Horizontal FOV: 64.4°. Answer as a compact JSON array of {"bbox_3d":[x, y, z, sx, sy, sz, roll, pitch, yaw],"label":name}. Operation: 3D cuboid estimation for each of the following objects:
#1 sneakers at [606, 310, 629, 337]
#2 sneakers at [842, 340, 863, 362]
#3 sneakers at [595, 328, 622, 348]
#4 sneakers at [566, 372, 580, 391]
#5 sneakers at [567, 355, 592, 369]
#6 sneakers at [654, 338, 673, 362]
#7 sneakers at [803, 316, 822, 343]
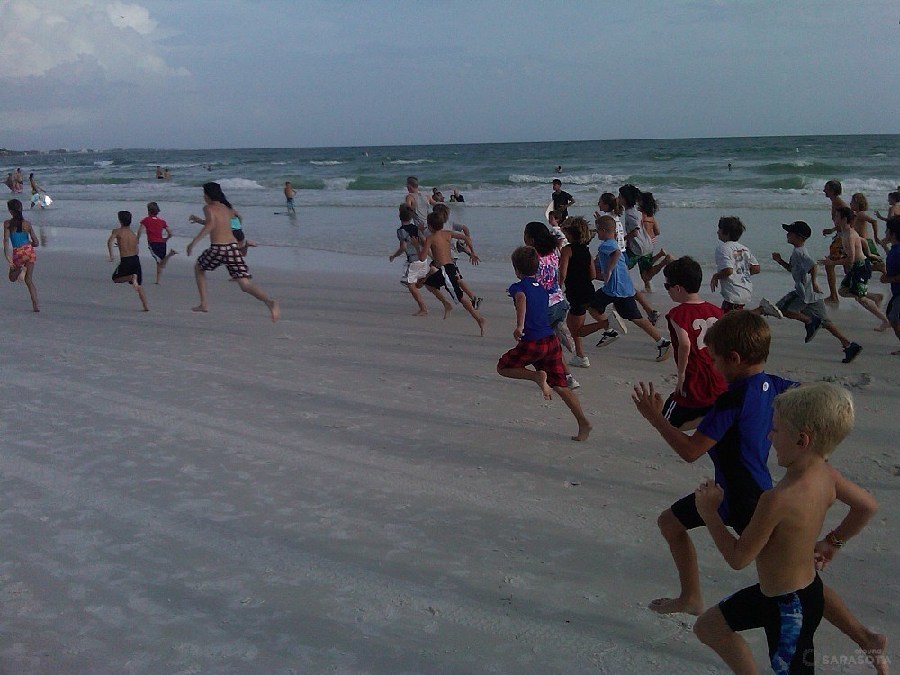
[{"bbox_3d":[2.032,-0.171,8.687,0.153,0.350,0.131,-21,24,54],"label":"sneakers"},{"bbox_3d":[4.474,0.160,7.940,0.153,0.122,0.344,29,0,11],"label":"sneakers"},{"bbox_3d":[1.969,0.012,8.926,0.136,0.178,0.400,-45,11,-37],"label":"sneakers"},{"bbox_3d":[1.271,0.449,7.494,0.144,0.154,0.388,-6,-6,3],"label":"sneakers"},{"bbox_3d":[1.491,0.282,8.248,0.269,0.102,0.094,9,20,31],"label":"sneakers"},{"bbox_3d":[2.504,0.152,8.386,0.176,0.117,0.354,9,-25,11],"label":"sneakers"},{"bbox_3d":[4.288,-0.118,8.552,0.164,0.358,0.140,27,50,19],"label":"sneakers"}]
